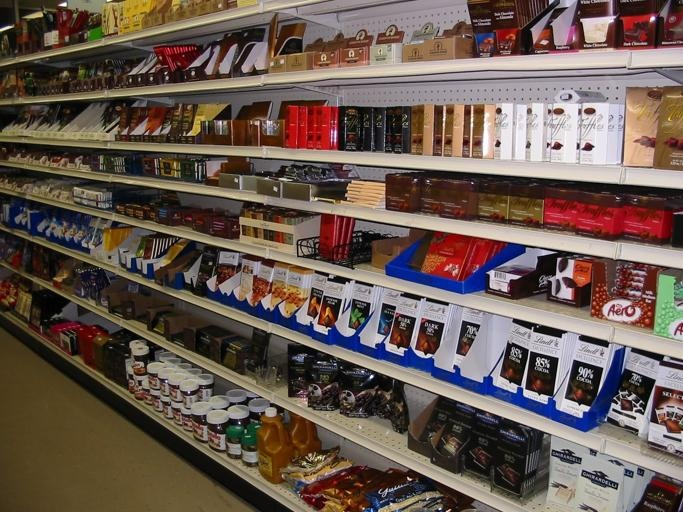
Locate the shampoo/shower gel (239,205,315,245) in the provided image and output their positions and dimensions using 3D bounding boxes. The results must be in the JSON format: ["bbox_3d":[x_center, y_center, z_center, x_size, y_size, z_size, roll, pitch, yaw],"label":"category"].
[{"bbox_3d":[-0.413,-0.192,3.115,0.406,0.137,0.294,12,15,40],"label":"shampoo/shower gel"}]
